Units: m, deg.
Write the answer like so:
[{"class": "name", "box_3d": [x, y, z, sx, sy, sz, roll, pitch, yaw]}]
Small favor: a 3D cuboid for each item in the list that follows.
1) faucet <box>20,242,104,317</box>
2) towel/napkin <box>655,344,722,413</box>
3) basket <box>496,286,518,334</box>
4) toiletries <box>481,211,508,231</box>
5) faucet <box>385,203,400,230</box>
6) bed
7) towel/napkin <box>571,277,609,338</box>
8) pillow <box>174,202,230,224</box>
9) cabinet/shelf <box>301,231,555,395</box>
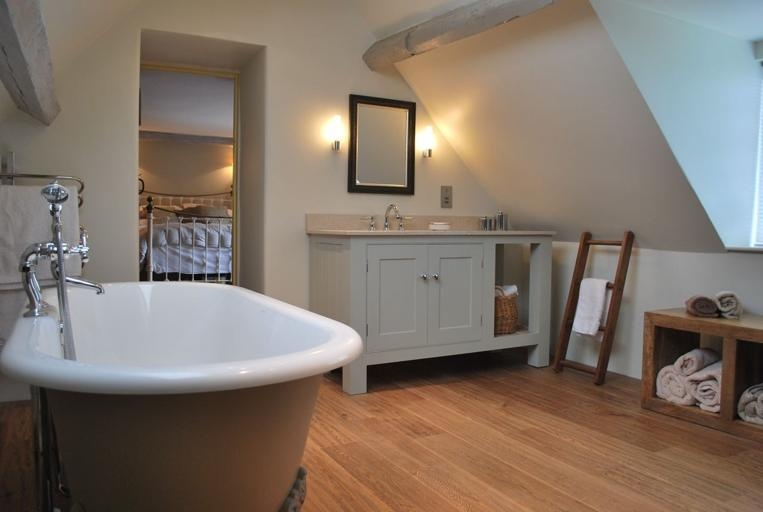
[{"class": "faucet", "box_3d": [-1.409, 0.097, 2.247, 0.320, 0.328, 0.181, 1, 6, -37]}, {"class": "towel/napkin", "box_3d": [1.914, 0.755, 3.197, 0.344, 0.190, 0.356, -2, -2, 26]}, {"class": "basket", "box_3d": [0.998, 0.425, 4.180, 0.239, 0.354, 0.244, -3, 0, -14]}, {"class": "toiletries", "box_3d": [1.002, -0.315, 4.511, 0.262, 0.189, 0.147, 2, -1, 17]}, {"class": "faucet", "box_3d": [0.088, -0.339, 4.294, 0.127, 0.216, 0.238, 1, 9, 2]}, {"class": "bed", "box_3d": [-2.470, -0.211, 6.542, 1.144, 1.218, 1.895, 2, -1, -27]}, {"class": "towel/napkin", "box_3d": [1.583, 0.393, 3.856, 0.255, 0.421, 0.115, 10, -4, 45]}, {"class": "pillow", "box_3d": [-2.544, -0.637, 7.420, 0.721, 0.244, 0.772, -3, 8, -34]}, {"class": "cabinet/shelf", "box_3d": [0.423, 0.356, 4.153, 1.798, 1.114, 0.934, -2, 3, -29]}]
